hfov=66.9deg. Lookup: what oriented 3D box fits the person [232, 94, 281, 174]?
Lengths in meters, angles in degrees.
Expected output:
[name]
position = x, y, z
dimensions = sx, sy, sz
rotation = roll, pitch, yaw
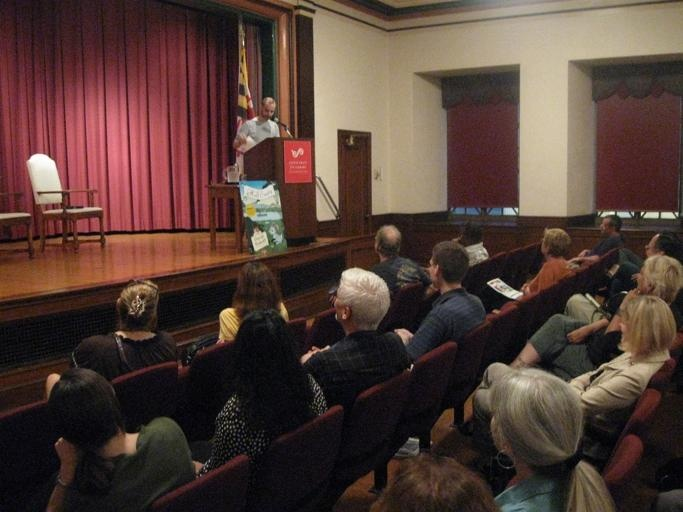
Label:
[person]
position = -1.070, -1.504, 6.577
dimensions = 0.547, 0.900, 1.642
rotation = -4, 10, -7
